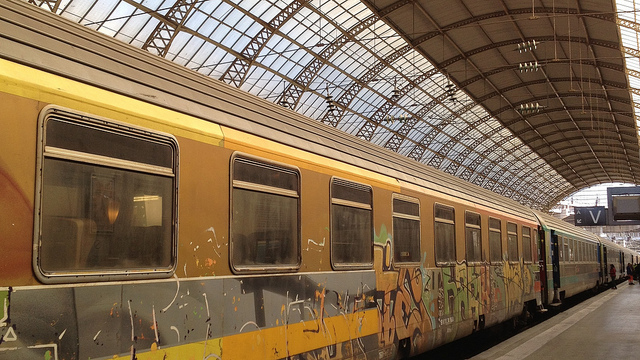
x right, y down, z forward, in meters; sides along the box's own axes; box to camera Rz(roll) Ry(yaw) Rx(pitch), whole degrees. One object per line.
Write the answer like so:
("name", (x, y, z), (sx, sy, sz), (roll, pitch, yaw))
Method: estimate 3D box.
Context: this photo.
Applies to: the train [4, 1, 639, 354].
("train", (-0.262, 0.811, 7.348), (0.584, 4.726, 8.594), (-15, -19, 42))
